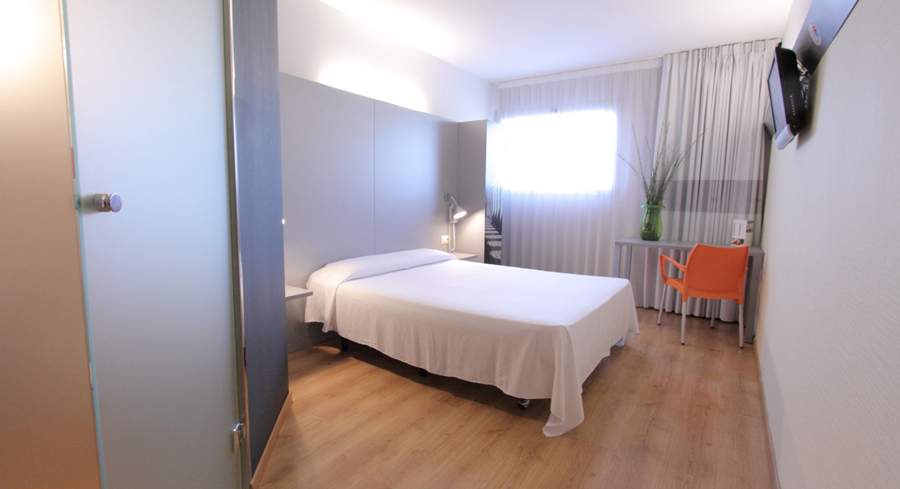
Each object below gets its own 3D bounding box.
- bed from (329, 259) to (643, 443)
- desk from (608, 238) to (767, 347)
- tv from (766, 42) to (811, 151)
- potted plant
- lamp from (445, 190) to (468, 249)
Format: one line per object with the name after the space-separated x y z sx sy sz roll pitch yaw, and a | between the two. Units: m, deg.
0.143 0.611 3.963 1.603 0.404 1.434 4 11 36 | bed
2.389 0.386 5.439 1.402 0.859 1.495 4 8 13 | desk
2.398 -1.036 3.729 0.248 0.675 0.820 9 16 28 | tv
2.324 -0.701 5.816 0.648 1.200 0.766 -3 15 -13 | potted plant
0.075 -0.258 6.112 0.243 0.694 0.264 1 15 3 | lamp
